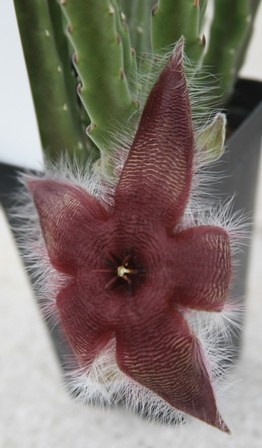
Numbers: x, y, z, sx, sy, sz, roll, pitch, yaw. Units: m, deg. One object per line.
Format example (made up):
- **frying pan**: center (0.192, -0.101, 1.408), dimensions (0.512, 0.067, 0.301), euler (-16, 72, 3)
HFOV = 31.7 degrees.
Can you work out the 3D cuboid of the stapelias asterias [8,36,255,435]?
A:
- **stapelias asterias**: center (0.015, -0.023, 0.503), dimensions (0.261, 0.108, 0.402), euler (-12, 78, 19)
